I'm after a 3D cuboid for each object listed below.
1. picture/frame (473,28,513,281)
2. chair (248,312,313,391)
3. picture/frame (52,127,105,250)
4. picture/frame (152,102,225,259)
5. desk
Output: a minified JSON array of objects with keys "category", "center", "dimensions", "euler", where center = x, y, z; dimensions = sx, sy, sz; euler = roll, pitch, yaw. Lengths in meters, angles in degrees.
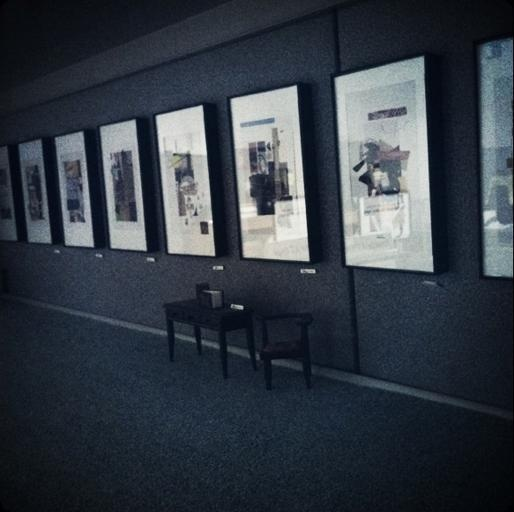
[{"category":"picture/frame","center":[1.668,-0.647,3.217],"dimensions":[0.110,1.619,0.249],"euler":[-8,7,-38]},{"category":"chair","center":[0.287,0.851,4.587],"dimensions":[0.547,0.782,0.694],"euler":[-4,-3,-17]},{"category":"picture/frame","center":[-2.754,-1.092,7.230],"dimensions":[0.244,2.552,1.615],"euler":[-7,9,-44]},{"category":"picture/frame","center":[-0.809,-0.876,5.634],"dimensions":[0.980,1.751,0.246],"euler":[2,8,44]},{"category":"desk","center":[-0.536,0.909,5.171],"dimensions":[0.508,0.733,1.010],"euler":[-6,6,-43]}]
